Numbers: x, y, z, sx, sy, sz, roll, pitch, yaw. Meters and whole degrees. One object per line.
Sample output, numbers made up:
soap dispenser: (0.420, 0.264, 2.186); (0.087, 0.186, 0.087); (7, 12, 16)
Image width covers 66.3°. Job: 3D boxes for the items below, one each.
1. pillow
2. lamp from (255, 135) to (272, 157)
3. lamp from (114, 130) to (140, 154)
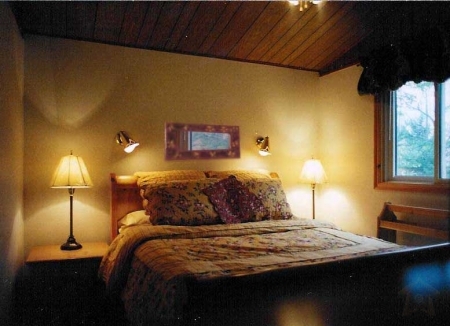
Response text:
pillow: (-0.105, 0.271, 2.479); (1.086, 0.374, 0.179); (-1, -14, -22)
lamp: (0.336, -0.150, 3.036); (0.122, 0.147, 0.341); (-3, -2, 8)
lamp: (-0.599, -0.125, 2.087); (0.109, 0.120, 0.112); (-45, 0, 27)
